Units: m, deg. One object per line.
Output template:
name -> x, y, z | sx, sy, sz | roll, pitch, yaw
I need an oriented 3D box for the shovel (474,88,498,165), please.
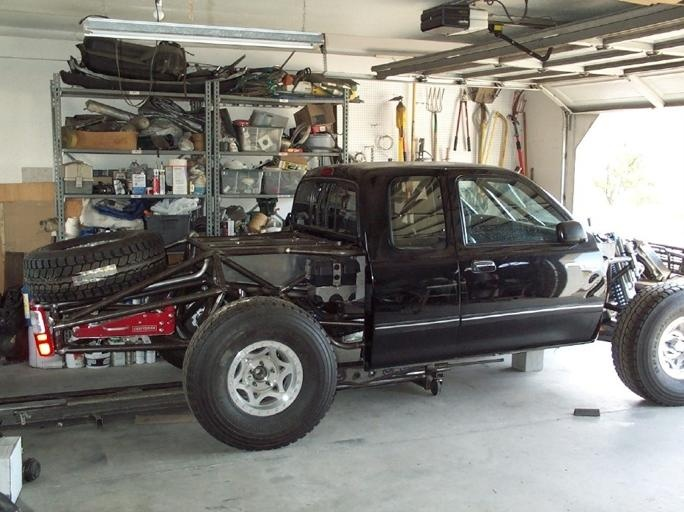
shovel -> 2.440, -2.221, 9.279 | 0.598, 1.229, 0.281 | -10, 15, -38
